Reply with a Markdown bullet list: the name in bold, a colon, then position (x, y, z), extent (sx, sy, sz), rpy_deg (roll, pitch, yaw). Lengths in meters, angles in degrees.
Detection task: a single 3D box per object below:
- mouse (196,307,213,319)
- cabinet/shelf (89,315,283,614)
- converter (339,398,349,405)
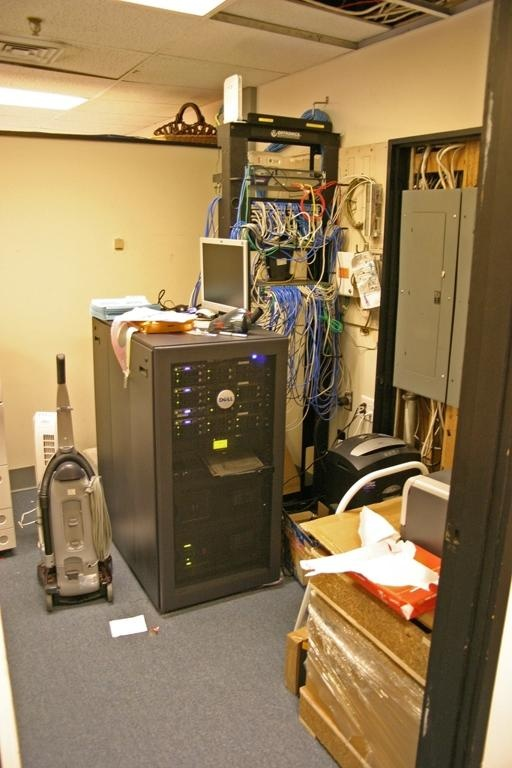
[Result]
- **mouse**: position (-0.260, -0.354, 2.867), extent (0.061, 0.026, 0.087), rpy_deg (0, 25, -8)
- **cabinet/shelf**: position (-0.296, 0.319, 2.661), extent (0.664, 1.186, 0.791), rpy_deg (-7, 14, -32)
- **converter**: position (0.521, 0.104, 3.392), extent (0.042, 0.043, 0.042), rpy_deg (-6, 2, -17)
